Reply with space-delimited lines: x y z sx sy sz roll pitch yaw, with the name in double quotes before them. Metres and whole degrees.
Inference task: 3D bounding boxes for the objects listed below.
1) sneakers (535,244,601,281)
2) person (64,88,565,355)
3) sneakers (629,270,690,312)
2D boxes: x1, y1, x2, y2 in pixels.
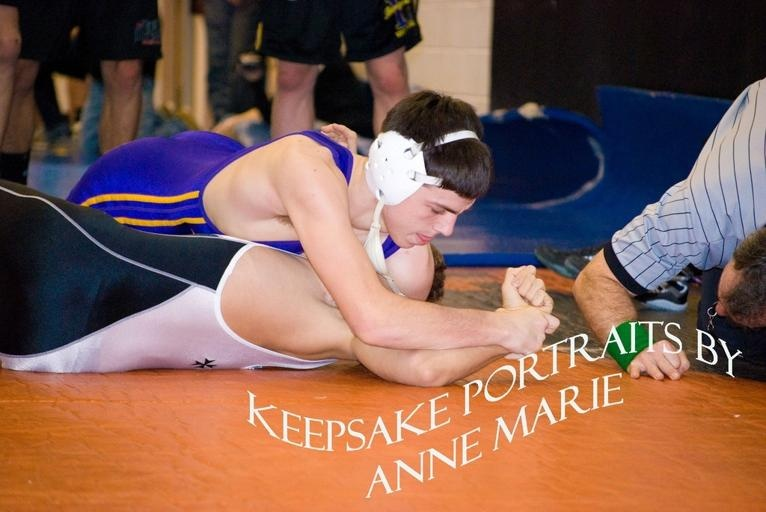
"sneakers" 0.895 0.011 3.496 0.339 0.098 0.133 15 58 11
"person" -0.250 -0.258 2.535 1.598 0.700 1.030 17 21 20
"sneakers" 1.195 0.164 3.139 0.097 0.112 0.267 5 0 -35
